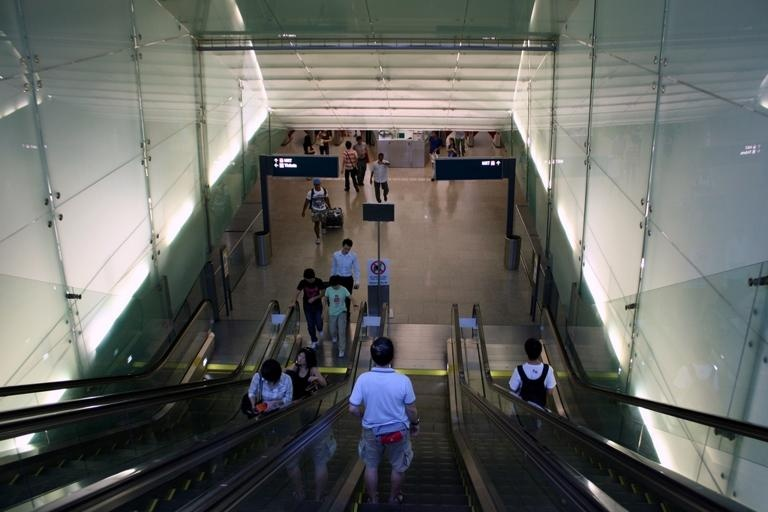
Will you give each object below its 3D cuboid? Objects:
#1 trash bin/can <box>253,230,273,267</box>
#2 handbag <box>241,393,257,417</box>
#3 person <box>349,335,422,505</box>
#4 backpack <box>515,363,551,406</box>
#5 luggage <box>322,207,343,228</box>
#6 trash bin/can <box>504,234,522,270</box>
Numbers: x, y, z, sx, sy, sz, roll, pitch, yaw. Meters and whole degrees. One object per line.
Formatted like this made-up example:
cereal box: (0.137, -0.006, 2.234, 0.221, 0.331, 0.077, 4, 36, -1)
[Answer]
trash bin/can: (-3.393, -0.203, 13.218, 0.486, 0.983, 0.355, 3, -6, -15)
handbag: (-1.612, 1.773, 5.592, 0.097, 0.293, 0.221, 4, -7, -38)
person: (-0.005, 1.619, 4.583, 0.652, 1.701, 0.759, 1, -6, 2)
backpack: (1.801, 1.557, 5.784, 0.491, 0.643, 0.346, -1, 15, 10)
luggage: (-1.552, -1.128, 14.896, 0.446, 0.319, 0.684, 1, 27, 0)
trash bin/can: (3.526, -0.096, 12.931, 0.466, 0.960, 0.343, 2, -6, -4)
